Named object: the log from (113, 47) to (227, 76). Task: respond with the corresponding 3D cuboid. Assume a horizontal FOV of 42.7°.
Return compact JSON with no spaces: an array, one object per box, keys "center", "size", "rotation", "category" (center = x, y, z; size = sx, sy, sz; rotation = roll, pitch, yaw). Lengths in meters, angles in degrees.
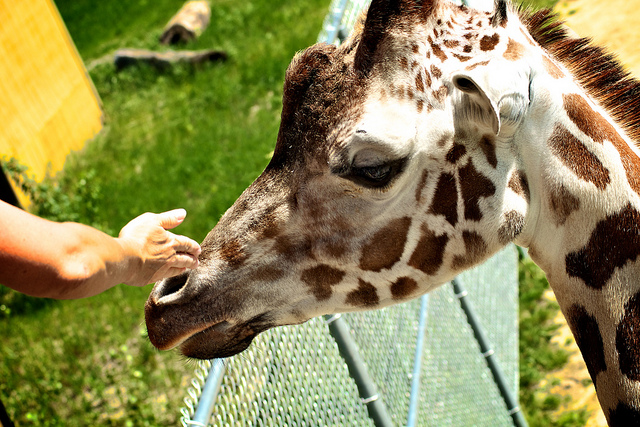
[{"center":[-2.034,-2.173,11.265],"size":[1.511,0.483,0.464],"rotation":[-3,41,-11],"category":"log"}]
